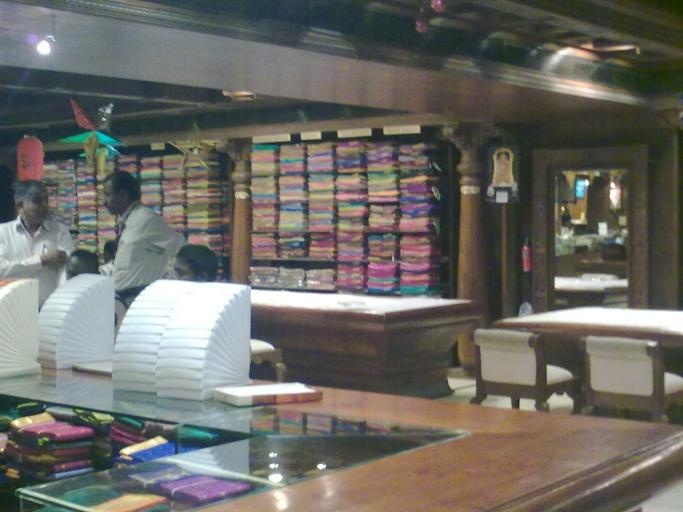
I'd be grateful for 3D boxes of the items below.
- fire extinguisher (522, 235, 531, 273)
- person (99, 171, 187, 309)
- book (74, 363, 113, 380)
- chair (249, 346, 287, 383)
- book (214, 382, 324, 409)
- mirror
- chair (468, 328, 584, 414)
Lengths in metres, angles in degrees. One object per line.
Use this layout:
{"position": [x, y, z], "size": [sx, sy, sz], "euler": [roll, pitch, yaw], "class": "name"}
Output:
{"position": [1.990, -0.009, 6.707], "size": [0.103, 0.362, 0.089], "euler": [2, 4, 30], "class": "fire extinguisher"}
{"position": [-1.567, -0.129, 5.028], "size": [0.585, 1.076, 0.391], "euler": [-1, 3, -21], "class": "person"}
{"position": [-1.084, 0.496, 2.745], "size": [0.155, 0.031, 0.248], "euler": [-1, 4, -23], "class": "book"}
{"position": [-0.536, 0.771, 4.762], "size": [0.301, 0.326, 0.356], "euler": [0, -3, -16], "class": "chair"}
{"position": [-0.270, 0.503, 2.364], "size": [0.407, 0.045, 0.249], "euler": [-1, 3, -14], "class": "book"}
{"position": [2.521, -0.298, 6.603], "size": [0.984, 1.649, 0.201], "euler": [0, 15, 22], "class": "mirror"}
{"position": [1.382, 0.751, 4.872], "size": [0.573, 0.735, 0.716], "euler": [4, 11, 42], "class": "chair"}
